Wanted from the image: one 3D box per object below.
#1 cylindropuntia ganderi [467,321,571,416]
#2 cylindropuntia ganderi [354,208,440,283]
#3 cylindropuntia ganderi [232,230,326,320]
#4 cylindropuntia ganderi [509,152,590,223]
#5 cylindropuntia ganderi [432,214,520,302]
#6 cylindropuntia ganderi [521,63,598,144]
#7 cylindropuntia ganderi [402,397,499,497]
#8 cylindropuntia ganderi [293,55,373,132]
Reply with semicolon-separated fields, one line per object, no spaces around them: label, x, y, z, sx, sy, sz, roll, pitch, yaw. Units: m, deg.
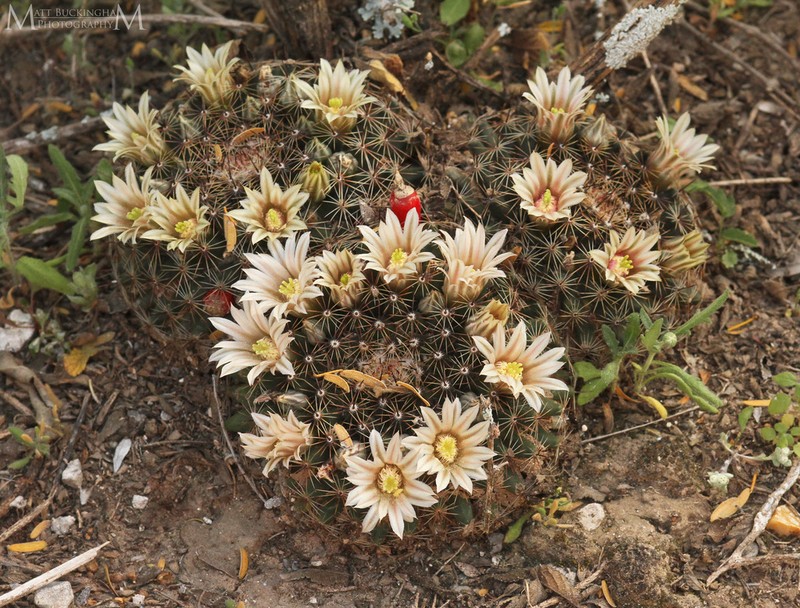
cylindropuntia ganderi;0.648;0.334;4.631;0.563;0.246;0.594;10;26;20
cylindropuntia ganderi;-0.027;-0.373;4.829;0.472;0.512;0.254;-20;85;1
cylindropuntia ganderi;-0.709;-0.145;4.726;0.469;0.227;0.458;-15;83;-2
cylindropuntia ganderi;0.900;-0.717;4.996;0.451;0.137;0.380;16;83;2
cylindropuntia ganderi;0.379;-0.248;4.900;0.446;0.420;0.471;42;69;12
cylindropuntia ganderi;1.018;-1.206;5.251;0.420;0.422;0.413;13;32;20
cylindropuntia ganderi;0.301;0.751;4.593;0.502;0.220;0.547;17;84;-6
cylindropuntia ganderi;-0.413;-1.374;5.170;0.334;0.380;0.268;0;85;7
